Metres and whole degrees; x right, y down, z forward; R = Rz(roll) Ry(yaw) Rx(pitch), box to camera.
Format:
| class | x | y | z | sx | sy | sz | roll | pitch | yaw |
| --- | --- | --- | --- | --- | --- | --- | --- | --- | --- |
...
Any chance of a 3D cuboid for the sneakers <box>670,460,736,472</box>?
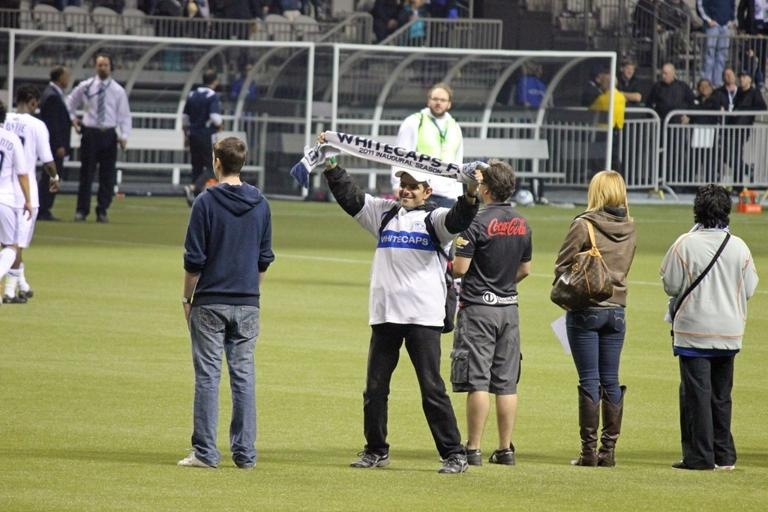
| class | x | y | z | sx | sy | sz | roll | pitch | yaw |
| --- | --- | --- | --- | --- | --- | --- | --- | --- | --- |
| sneakers | 3.196 | 2.088 | 21.187 | 0.625 | 0.070 | 0.141 | 1 | 5 | 3 |

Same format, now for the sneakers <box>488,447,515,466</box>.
| class | x | y | z | sx | sy | sz | roll | pitch | yaw |
| --- | --- | --- | --- | --- | --- | --- | --- | --- | --- |
| sneakers | 1.179 | 1.986 | 21.181 | 0.124 | 0.115 | 0.281 | -1 | 2 | -36 |

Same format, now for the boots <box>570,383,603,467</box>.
| class | x | y | z | sx | sy | sz | roll | pitch | yaw |
| --- | --- | --- | --- | --- | --- | --- | --- | --- | --- |
| boots | 2.032 | 1.694 | 21.296 | 0.269 | 0.760 | 0.419 | 2 | 5 | 5 |

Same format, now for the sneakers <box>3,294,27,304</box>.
| class | x | y | z | sx | sy | sz | roll | pitch | yaw |
| --- | --- | --- | --- | --- | --- | --- | --- | --- | --- |
| sneakers | -4.286 | 0.490 | 24.653 | 0.317 | 0.120 | 0.095 | -11 | 25 | -37 |

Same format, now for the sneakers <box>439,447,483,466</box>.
| class | x | y | z | sx | sy | sz | roll | pitch | yaw |
| --- | --- | --- | --- | --- | --- | --- | --- | --- | --- |
| sneakers | 0.814 | 1.988 | 21.123 | 0.511 | 0.225 | 0.168 | 6 | -12 | -36 |

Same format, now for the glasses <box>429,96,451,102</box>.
| class | x | y | z | sx | sy | sz | roll | pitch | yaw |
| --- | --- | --- | --- | --- | --- | --- | --- | --- | --- |
| glasses | 0.658 | -1.842 | 24.556 | 0.237 | 0.079 | 0.184 | 1 | 5 | -4 |

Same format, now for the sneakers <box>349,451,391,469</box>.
| class | x | y | z | sx | sy | sz | roll | pitch | yaw |
| --- | --- | --- | --- | --- | --- | --- | --- | --- | --- |
| sneakers | -0.126 | 2.018 | 21.027 | 0.419 | 0.193 | 0.156 | 1 | -4 | -4 |

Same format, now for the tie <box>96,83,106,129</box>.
| class | x | y | z | sx | sy | sz | roll | pitch | yaw |
| --- | --- | --- | --- | --- | --- | --- | --- | --- | --- |
| tie | -4.017 | -2.182 | 30.118 | 0.135 | 0.609 | 0.025 | 0 | 5 | -12 |

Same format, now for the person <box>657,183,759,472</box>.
| class | x | y | z | sx | sy | sz | roll | pitch | yaw |
| --- | --- | --- | --- | --- | --- | --- | --- | --- | --- |
| person | 3.249 | 0.692 | 21.320 | 0.934 | 2.825 | 0.616 | 2 | 5 | 6 |

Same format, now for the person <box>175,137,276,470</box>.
| class | x | y | z | sx | sy | sz | roll | pitch | yaw |
| --- | --- | --- | --- | --- | --- | --- | --- | --- | --- |
| person | -1.560 | 0.660 | 20.910 | 0.846 | 2.766 | 0.534 | 1 | 5 | -2 |

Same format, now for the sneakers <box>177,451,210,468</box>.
| class | x | y | z | sx | sy | sz | roll | pitch | yaw |
| --- | --- | --- | --- | --- | --- | --- | --- | --- | --- |
| sneakers | -1.856 | 1.989 | 20.855 | 0.372 | 0.153 | 0.133 | 7 | -5 | 1 |

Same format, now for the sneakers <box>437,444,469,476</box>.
| class | x | y | z | sx | sy | sz | roll | pitch | yaw |
| --- | --- | --- | --- | --- | --- | --- | --- | --- | --- |
| sneakers | 0.696 | 1.992 | 20.935 | 0.340 | 0.251 | 0.275 | 0 | 5 | -7 |

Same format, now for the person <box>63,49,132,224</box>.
| class | x | y | z | sx | sy | sz | roll | pitch | yaw |
| --- | --- | --- | --- | --- | --- | --- | --- | --- | --- |
| person | -4.054 | -1.693 | 30.188 | 0.868 | 2.364 | 0.791 | 1 | 5 | -6 |

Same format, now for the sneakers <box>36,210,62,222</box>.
| class | x | y | z | sx | sy | sz | roll | pitch | yaw |
| --- | --- | --- | --- | --- | --- | --- | --- | --- | --- |
| sneakers | -4.821 | -0.610 | 30.542 | 0.345 | 0.237 | 0.115 | -1 | 9 | -5 |

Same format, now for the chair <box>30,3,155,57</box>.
| class | x | y | z | sx | sy | sz | roll | pitch | yaw |
| --- | --- | --- | --- | --- | --- | --- | --- | --- | --- |
| chair | -4.518 | -3.662 | 32.377 | 2.021 | 0.484 | 0.577 | 0 | 5 | -8 |

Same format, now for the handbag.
| class | x | y | z | sx | sy | sz | roll | pitch | yaw |
| --- | --- | --- | --- | --- | --- | --- | --- | --- | --- |
| handbag | 2.008 | 0.040 | 21.552 | 0.391 | 0.898 | 0.668 | -2 | -10 | -31 |

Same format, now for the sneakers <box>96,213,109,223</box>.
| class | x | y | z | sx | sy | sz | roll | pitch | yaw |
| --- | --- | --- | --- | --- | --- | --- | --- | --- | --- |
| sneakers | -3.993 | -0.553 | 30.077 | 0.156 | 0.198 | 0.131 | 3 | 0 | 16 |
